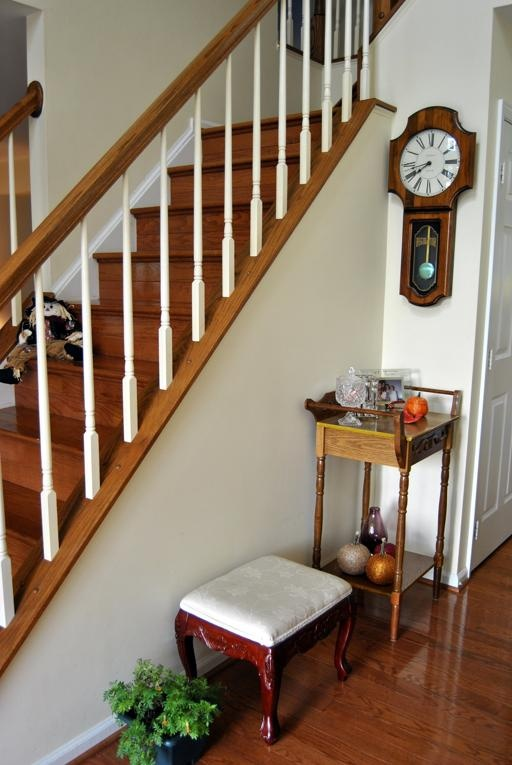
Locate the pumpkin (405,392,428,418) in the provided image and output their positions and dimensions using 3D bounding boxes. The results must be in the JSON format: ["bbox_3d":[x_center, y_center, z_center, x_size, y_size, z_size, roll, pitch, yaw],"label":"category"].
[{"bbox_3d":[0.588,0.085,2.419,0.074,0.114,0.081,4,1,33],"label":"pumpkin"}]

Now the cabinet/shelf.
[{"bbox_3d":[0.468,0.442,2.447,0.427,0.820,0.707,5,8,34],"label":"cabinet/shelf"}]

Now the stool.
[{"bbox_3d":[0.024,0.658,1.781,0.396,0.352,0.396,8,18,39],"label":"stool"}]

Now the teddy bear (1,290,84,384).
[{"bbox_3d":[-0.774,-0.171,2.316,0.281,0.318,0.505,-1,7,-16],"label":"teddy bear"}]

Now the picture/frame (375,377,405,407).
[{"bbox_3d":[0.515,0.036,2.499,0.108,0.112,0.010,3,-20,-24],"label":"picture/frame"}]

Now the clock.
[{"bbox_3d":[0.667,-0.673,2.461,0.105,0.728,0.348,-5,9,-42],"label":"clock"}]

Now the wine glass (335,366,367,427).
[{"bbox_3d":[0.332,0.045,2.241,0.111,0.191,0.243,2,6,8],"label":"wine glass"}]
